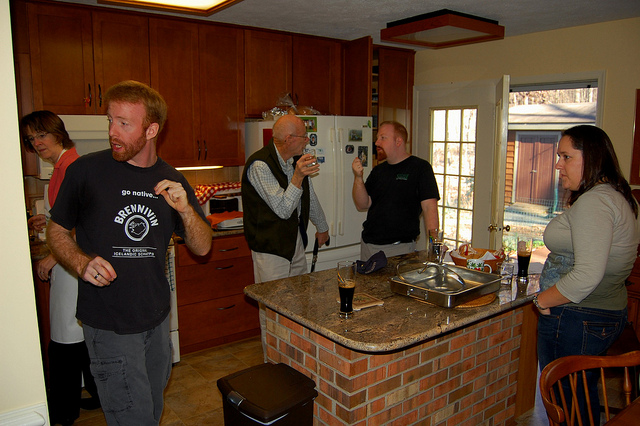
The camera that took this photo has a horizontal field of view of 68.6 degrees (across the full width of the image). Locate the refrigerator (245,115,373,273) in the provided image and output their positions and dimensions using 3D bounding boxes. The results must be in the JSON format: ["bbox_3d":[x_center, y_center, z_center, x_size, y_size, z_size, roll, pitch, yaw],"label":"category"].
[{"bbox_3d":[0.211,-0.262,5.050,0.918,1.584,0.334,-13,17,-39],"label":"refrigerator"}]

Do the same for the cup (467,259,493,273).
[{"bbox_3d":[1.095,0.355,3.211,0.141,0.090,0.087,6,2,4],"label":"cup"}]

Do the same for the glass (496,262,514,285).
[{"bbox_3d":[1.313,0.413,3.327,0.145,0.154,0.147,1,6,27],"label":"glass"}]

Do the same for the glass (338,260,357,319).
[{"bbox_3d":[0.158,0.438,2.762,0.101,0.329,0.138,-2,13,1],"label":"glass"}]

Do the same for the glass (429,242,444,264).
[{"bbox_3d":[0.801,0.264,3.229,0.099,0.144,0.102,1,14,13],"label":"glass"}]

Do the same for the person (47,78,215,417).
[{"bbox_3d":[-1.026,0.246,2.608,0.791,1.911,0.421,-10,16,-29],"label":"person"}]

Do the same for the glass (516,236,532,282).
[{"bbox_3d":[1.425,0.312,3.286,0.093,0.319,0.146,4,15,23],"label":"glass"}]
